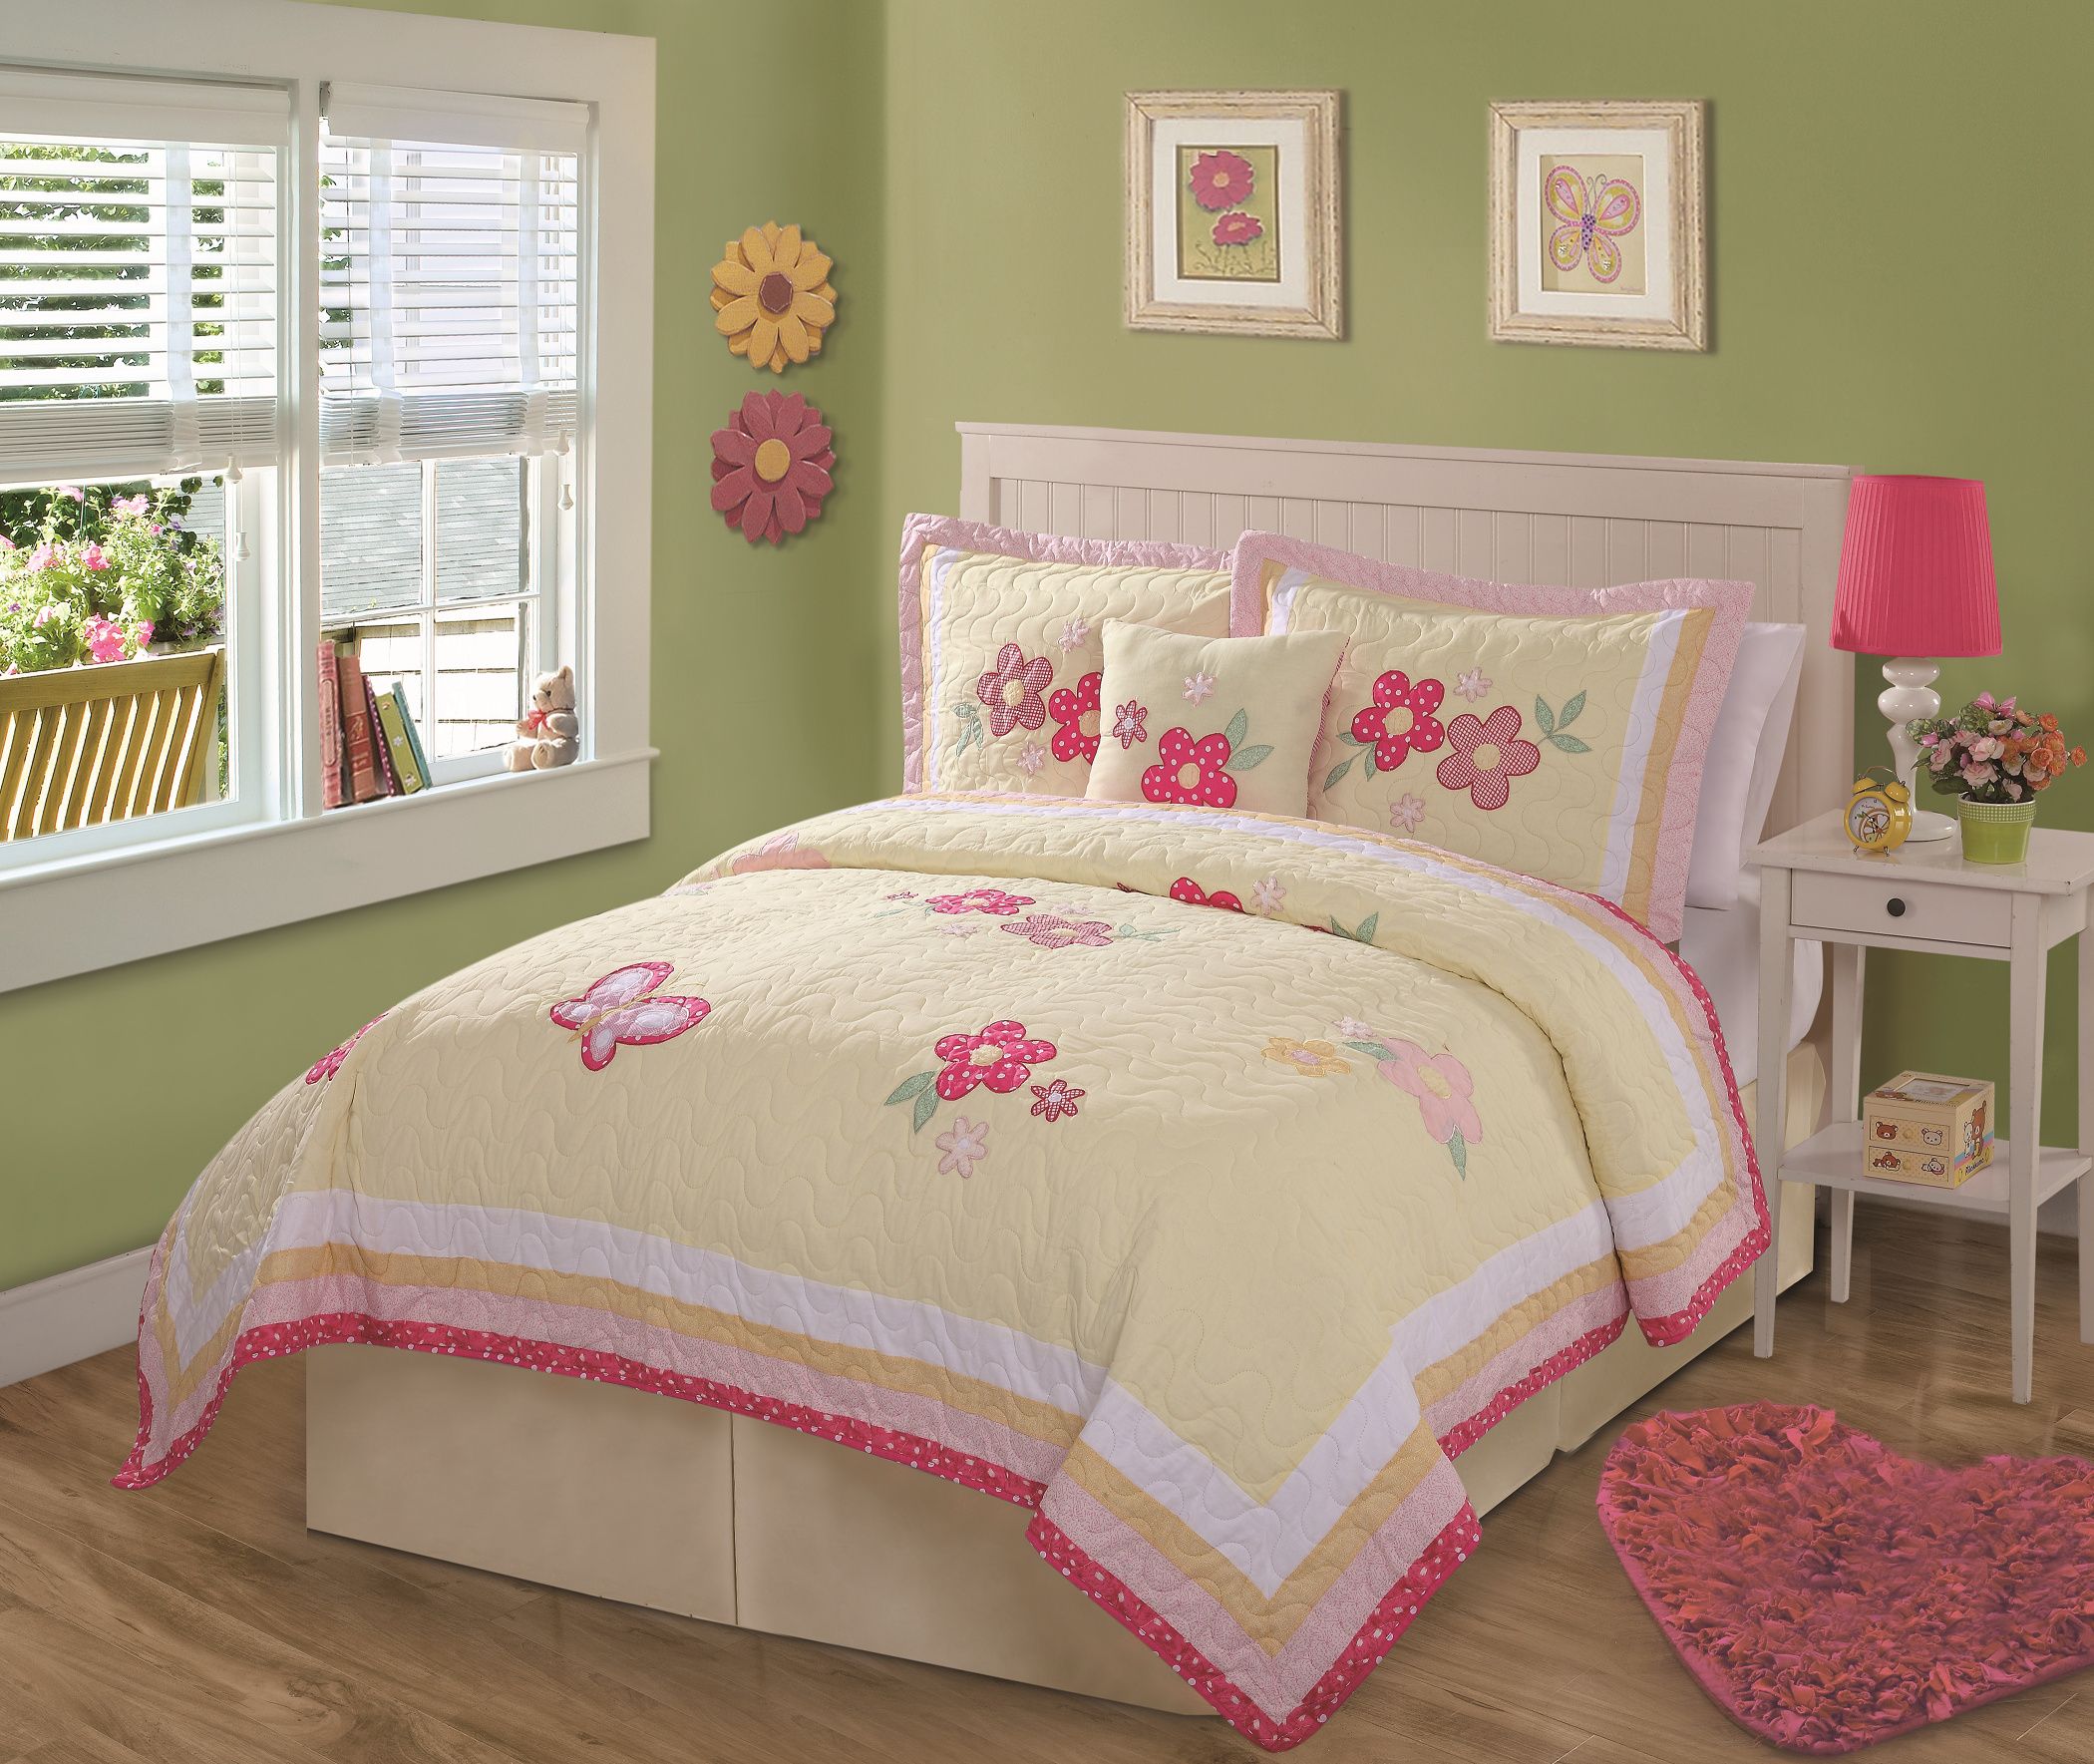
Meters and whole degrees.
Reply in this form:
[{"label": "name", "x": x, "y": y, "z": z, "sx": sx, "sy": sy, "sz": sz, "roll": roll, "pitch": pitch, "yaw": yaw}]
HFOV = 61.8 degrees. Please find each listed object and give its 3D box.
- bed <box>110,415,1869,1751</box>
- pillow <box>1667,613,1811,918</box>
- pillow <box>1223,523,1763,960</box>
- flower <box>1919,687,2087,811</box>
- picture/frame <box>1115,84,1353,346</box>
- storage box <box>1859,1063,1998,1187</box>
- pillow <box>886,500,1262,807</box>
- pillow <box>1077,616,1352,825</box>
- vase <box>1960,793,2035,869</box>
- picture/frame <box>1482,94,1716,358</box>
[{"label": "bed", "x": 0.265, "y": 0.232, "z": 2.873, "sx": 2.063, "sy": 1.553, "sz": 2.360, "roll": 7, "pitch": 13, "yaw": 30}, {"label": "pillow", "x": 1.196, "y": -0.203, "z": 3.042, "sx": 0.120, "sy": 0.419, "sz": 0.431, "roll": 12, "pitch": -15, "yaw": -3}, {"label": "pillow", "x": 0.714, "y": -0.284, "z": 3.056, "sx": 0.844, "sy": 0.604, "sz": 0.197, "roll": 13, "pitch": 28, "yaw": 21}, {"label": "flower", "x": 1.487, "y": -0.196, "z": 2.788, "sx": 0.237, "sy": 0.208, "sz": 0.241, "roll": 0, "pitch": 4, "yaw": -3}, {"label": "picture/frame", "x": 0.425, "y": -1.461, "z": 3.796, "sx": 0.583, "sy": 0.573, "sz": 0.045, "roll": 4, "pitch": 6, "yaw": 33}, {"label": "storage box", "x": 1.429, "y": 0.399, "z": 2.837, "sx": 0.189, "sy": 0.106, "sz": 0.185, "roll": -8, "pitch": 3, "yaw": -26}, {"label": "pillow", "x": -0.037, "y": -0.540, "z": 3.688, "sx": 0.783, "sy": 0.285, "sz": 1.047, "roll": 3, "pitch": -12, "yaw": -16}, {"label": "pillow", "x": 0.299, "y": -0.269, "z": 3.021, "sx": 0.353, "sy": 0.277, "sz": 0.140, "roll": 4, "pitch": -31, "yaw": 29}, {"label": "vase", "x": 1.444, "y": -0.079, "z": 2.671, "sx": 0.097, "sy": 0.078, "sz": 0.102, "roll": 2, "pitch": -3, "yaw": -5}, {"label": "picture/frame", "x": 1.092, "y": -1.294, "z": 3.414, "sx": 0.509, "sy": 0.535, "sz": 0.038, "roll": 6, "pitch": 9, "yaw": 37}]
